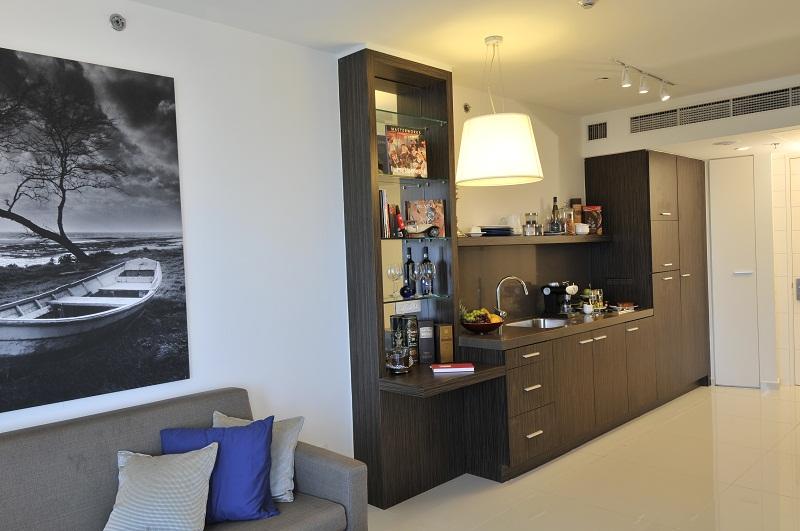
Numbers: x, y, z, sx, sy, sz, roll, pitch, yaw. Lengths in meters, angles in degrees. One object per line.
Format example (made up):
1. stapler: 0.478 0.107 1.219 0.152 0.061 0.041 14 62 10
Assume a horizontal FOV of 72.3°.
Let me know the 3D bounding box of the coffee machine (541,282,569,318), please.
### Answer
1. coffee machine: 1.585 0.358 5.632 0.293 0.359 0.281 -2 -1 30

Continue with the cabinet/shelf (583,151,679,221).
1. cabinet/shelf: 2.778 -0.802 6.532 1.041 1.022 0.731 -2 0 -44

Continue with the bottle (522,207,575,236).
1. bottle: 1.611 -0.446 5.874 0.402 0.252 0.407 0 -5 0

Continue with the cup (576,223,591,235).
1. cup: 2.013 -0.399 6.045 0.121 0.104 0.149 -1 -6 9

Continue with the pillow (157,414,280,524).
1. pillow: -1.083 1.228 3.236 0.549 0.526 0.191 -2 -32 -11

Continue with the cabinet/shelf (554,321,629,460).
1. cabinet/shelf: 1.766 1.191 5.142 1.113 0.992 0.421 -5 6 -40

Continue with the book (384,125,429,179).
1. book: 0.035 -0.935 4.500 0.070 0.515 0.435 -7 -11 43

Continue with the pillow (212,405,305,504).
1. pillow: -0.800 1.184 3.361 0.522 0.543 0.227 0 -3 -5

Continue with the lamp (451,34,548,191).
1. lamp: 0.738 -1.201 4.260 0.584 1.136 1.279 -1 9 7

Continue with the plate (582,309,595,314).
1. plate: 1.942 0.479 5.645 0.060 0.047 0.055 -1 -3 36
